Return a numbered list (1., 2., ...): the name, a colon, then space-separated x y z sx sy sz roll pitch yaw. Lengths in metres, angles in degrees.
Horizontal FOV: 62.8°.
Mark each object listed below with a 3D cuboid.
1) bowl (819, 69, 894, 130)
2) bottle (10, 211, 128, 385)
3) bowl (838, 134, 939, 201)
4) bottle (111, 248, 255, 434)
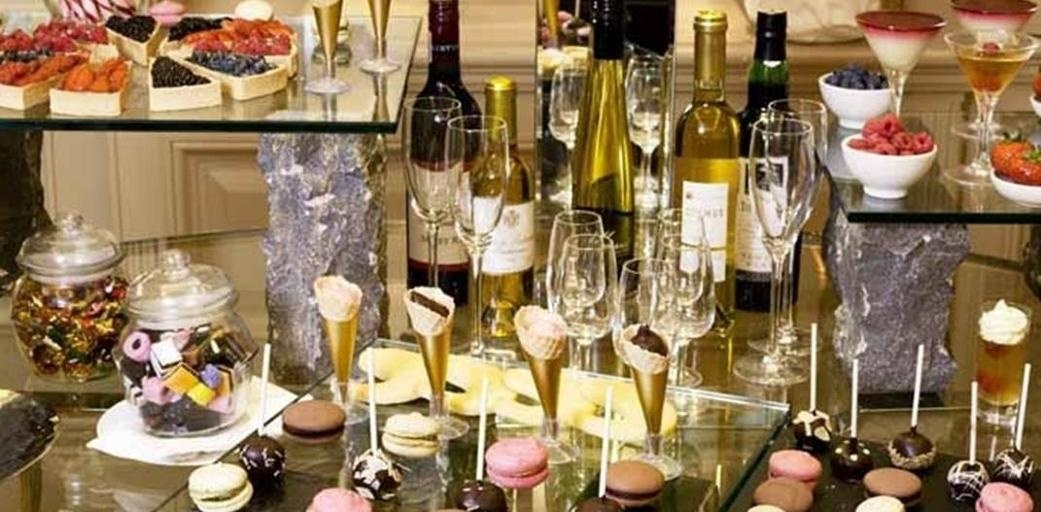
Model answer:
1. bowl: 0.661 -0.309 1.683 0.149 0.088 0.140 0 25 0
2. bottle: -0.797 0.072 1.557 0.220 0.269 0.209 2 16 -1
3. bowl: 0.626 -0.148 1.439 0.126 0.062 0.116 1 16 0
4. bottle: -0.544 0.135 1.455 0.266 0.287 0.226 -7 12 -11
